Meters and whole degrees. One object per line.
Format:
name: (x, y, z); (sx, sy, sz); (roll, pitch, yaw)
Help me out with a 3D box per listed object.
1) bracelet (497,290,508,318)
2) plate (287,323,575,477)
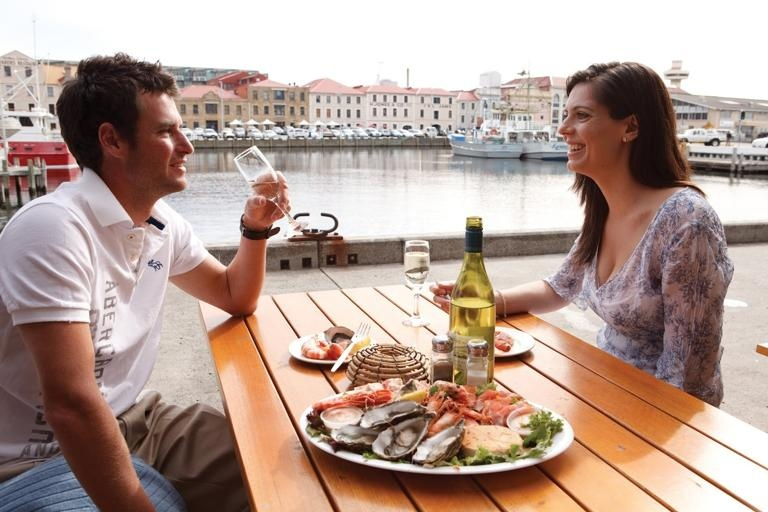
bracelet: (0.562, 0.217, 2.467); (0.039, 0.099, 0.074); (-3, 0, -16)
plate: (0.141, 0.461, 1.464); (0.763, 0.183, 0.344); (-4, 14, 1)
